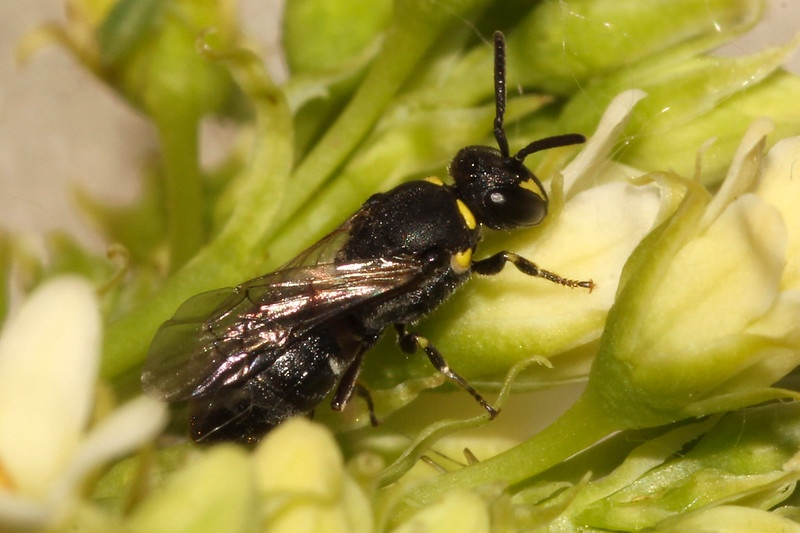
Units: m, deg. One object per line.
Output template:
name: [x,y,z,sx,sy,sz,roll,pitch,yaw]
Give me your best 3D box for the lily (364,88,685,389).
lily: [0.203,0.045,1.318,0.474,0.365,0.144,-40,-70,19]
